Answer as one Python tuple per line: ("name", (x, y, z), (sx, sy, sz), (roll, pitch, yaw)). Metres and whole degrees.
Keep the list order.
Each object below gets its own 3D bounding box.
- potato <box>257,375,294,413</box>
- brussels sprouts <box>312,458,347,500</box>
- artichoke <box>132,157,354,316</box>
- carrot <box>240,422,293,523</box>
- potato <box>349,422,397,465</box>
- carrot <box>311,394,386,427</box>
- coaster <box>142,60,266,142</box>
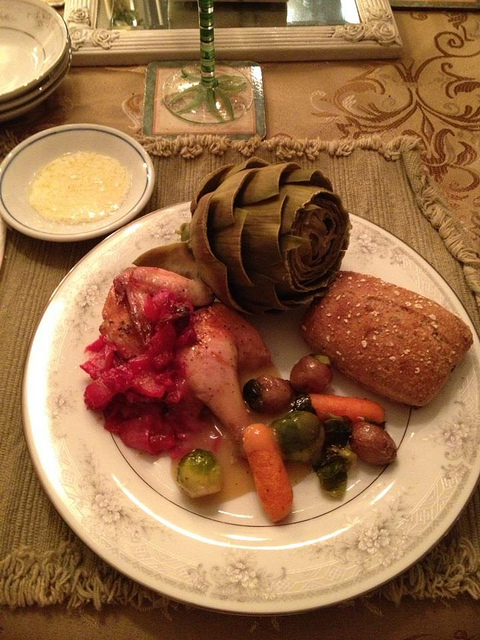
("potato", (0.064, 0.152, 1.190), (0.083, 0.041, 0.066), (33, 52, 25))
("brussels sprouts", (0.180, 0.307, 1.079), (0.057, 0.044, 0.065), (-6, 55, -4))
("artichoke", (0.020, -0.211, 1.276), (0.439, 0.327, 0.345), (-21, 47, -26))
("carrot", (0.054, 0.290, 1.051), (0.076, 0.065, 0.206), (-19, 78, -6))
("potato", (0.266, 0.246, 1.103), (0.108, 0.064, 0.063), (28, 60, 18))
("carrot", (0.200, 0.190, 1.171), (0.203, 0.055, 0.057), (4, 19, 4))
("coaster", (-0.121, -0.728, 1.812), (0.391, 0.052, 0.397), (-1, 54, -2))
